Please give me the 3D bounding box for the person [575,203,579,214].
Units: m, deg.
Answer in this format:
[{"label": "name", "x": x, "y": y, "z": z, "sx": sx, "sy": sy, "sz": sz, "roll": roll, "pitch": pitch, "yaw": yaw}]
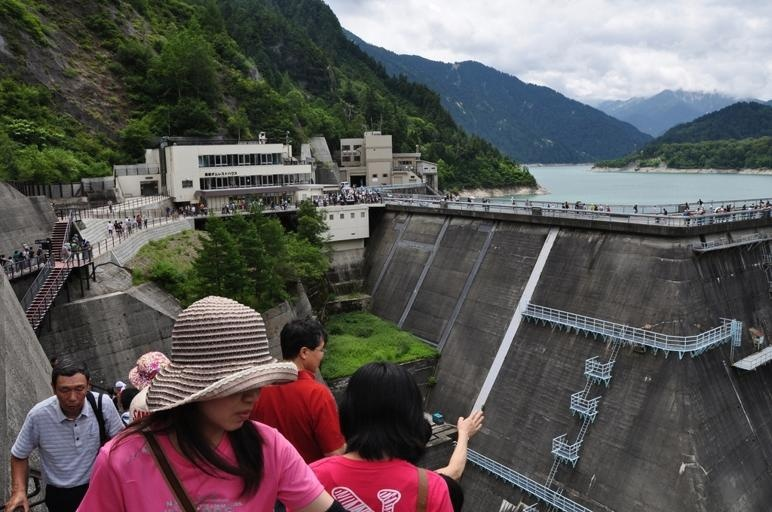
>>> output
[{"label": "person", "x": 12.067, "y": -2.989, "z": 33.485, "sx": 0.329, "sy": 0.503, "sz": 1.505, "roll": 6, "pitch": 12, "yaw": 19}]
